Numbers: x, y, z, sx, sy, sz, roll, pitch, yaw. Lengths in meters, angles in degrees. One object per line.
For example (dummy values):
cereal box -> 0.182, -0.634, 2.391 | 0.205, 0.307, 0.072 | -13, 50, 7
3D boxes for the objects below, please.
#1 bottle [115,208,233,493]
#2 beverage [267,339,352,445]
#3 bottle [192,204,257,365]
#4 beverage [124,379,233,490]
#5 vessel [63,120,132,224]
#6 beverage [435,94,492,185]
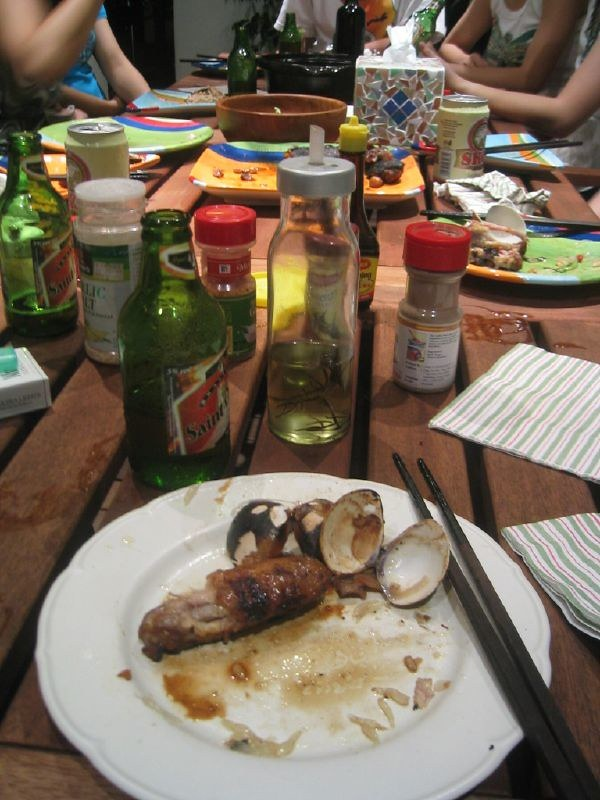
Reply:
bottle -> -0.106, -0.031, 0.551 | 0.089, 0.239, 0.075 | -4, 38, -7
beverage -> 0.008, -0.014, 0.716 | 0.101, 0.109, 0.100 | 2, 37, 3
bottle -> -0.085, -0.133, 0.769 | 0.073, 0.171, 0.071 | 1, 30, 0
beverage -> -0.106, 0.028, 0.567 | 0.065, 0.095, 0.057 | -12, 39, -18
vessel -> -0.281, -0.318, 0.914 | 0.081, 0.138, 0.079 | 11, 46, 0
beverage -> 0.376, -0.606, 1.573 | 0.126, 0.192, 0.123 | -19, 32, -27
